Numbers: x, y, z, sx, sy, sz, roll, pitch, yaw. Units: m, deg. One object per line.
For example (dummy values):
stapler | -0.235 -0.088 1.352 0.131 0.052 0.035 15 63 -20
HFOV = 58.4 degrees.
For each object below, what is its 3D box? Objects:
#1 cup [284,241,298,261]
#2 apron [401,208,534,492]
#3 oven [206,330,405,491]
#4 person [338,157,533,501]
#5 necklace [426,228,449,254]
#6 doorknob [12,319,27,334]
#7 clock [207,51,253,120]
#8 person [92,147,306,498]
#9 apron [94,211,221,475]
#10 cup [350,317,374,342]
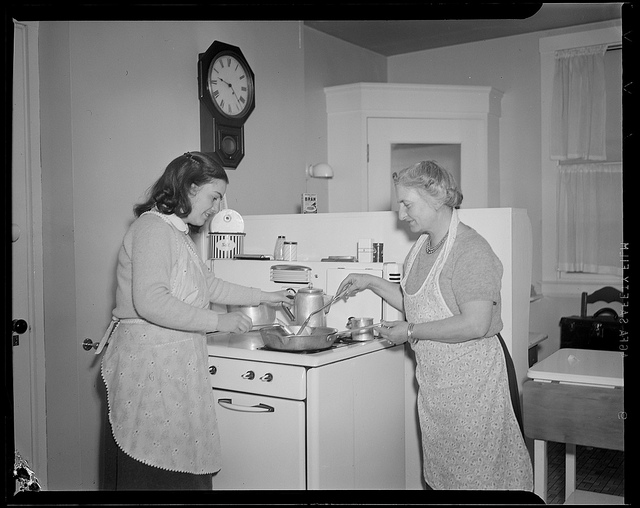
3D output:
cup | -0.152 -0.018 2.832 0.075 0.093 0.079 0 -6 0
apron | 0.528 0.393 2.177 0.362 1.036 0.397 -13 13 -32
oven | -0.045 0.512 2.421 0.687 0.735 0.746 -1 -1 32
person | 0.505 0.273 2.100 0.532 1.219 0.350 2 4 27
necklace | 0.432 -0.045 2.099 0.018 0.074 0.070 29 -9 -9
doorknob | -1.204 0.289 2.291 0.045 0.062 0.100 -3 4 -34
clock | -0.517 -0.948 3.221 0.040 0.425 0.403 -1 -3 30
person | -0.494 0.238 1.891 0.503 1.137 0.291 -2 4 -19
apron | -0.507 0.329 1.943 0.320 0.878 0.352 5 9 -42
cup | 0.180 0.308 2.392 0.085 0.096 0.087 0 -5 0
